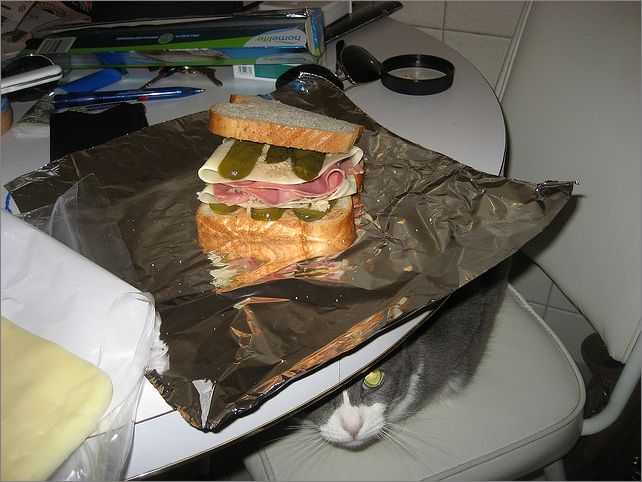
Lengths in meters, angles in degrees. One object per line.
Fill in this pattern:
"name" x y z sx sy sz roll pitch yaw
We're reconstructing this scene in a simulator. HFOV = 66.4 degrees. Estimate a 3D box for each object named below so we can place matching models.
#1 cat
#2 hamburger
"cat" 0.208 0.341 1.416 0.791 0.295 0.336 -10 41 -12
"hamburger" -0.157 -0.206 1.695 0.687 0.486 0.553 -9 33 -16
